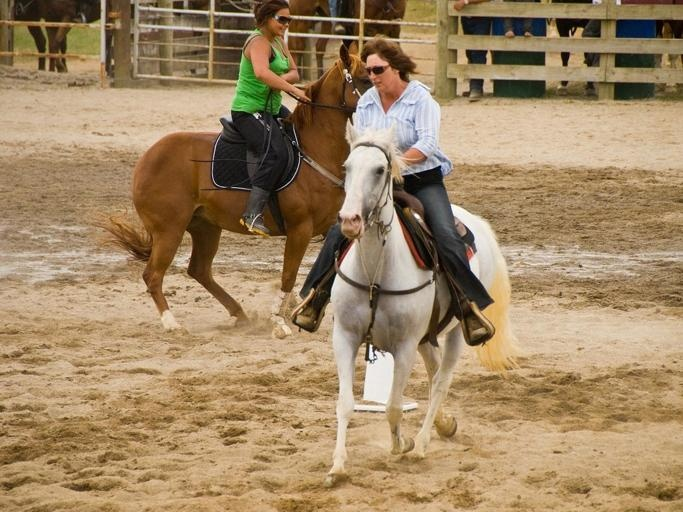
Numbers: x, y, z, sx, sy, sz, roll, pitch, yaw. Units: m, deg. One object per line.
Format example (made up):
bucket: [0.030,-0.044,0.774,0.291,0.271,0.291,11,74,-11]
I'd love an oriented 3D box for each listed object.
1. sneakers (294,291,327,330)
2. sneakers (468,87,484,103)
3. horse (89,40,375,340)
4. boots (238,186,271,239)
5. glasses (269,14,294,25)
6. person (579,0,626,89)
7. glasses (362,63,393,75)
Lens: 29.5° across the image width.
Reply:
sneakers: [-0.339,0.570,13.519,0.301,0.449,0.168,24,20,-12]
sneakers: [2.605,-3.128,25.442,0.175,0.188,0.486,0,2,14]
horse: [-1.004,-0.596,15.807,4.814,2.965,1.256,1,-1,34]
boots: [-1.042,-0.526,15.361,0.359,0.598,0.315,1,8,2]
glasses: [-0.676,-2.750,15.152,0.147,0.111,0.340,4,8,22]
person: [4.932,-3.990,24.450,0.563,1.988,1.564,4,37,13]
glasses: [0.344,-1.876,13.157,0.247,0.102,0.106,5,9,31]
